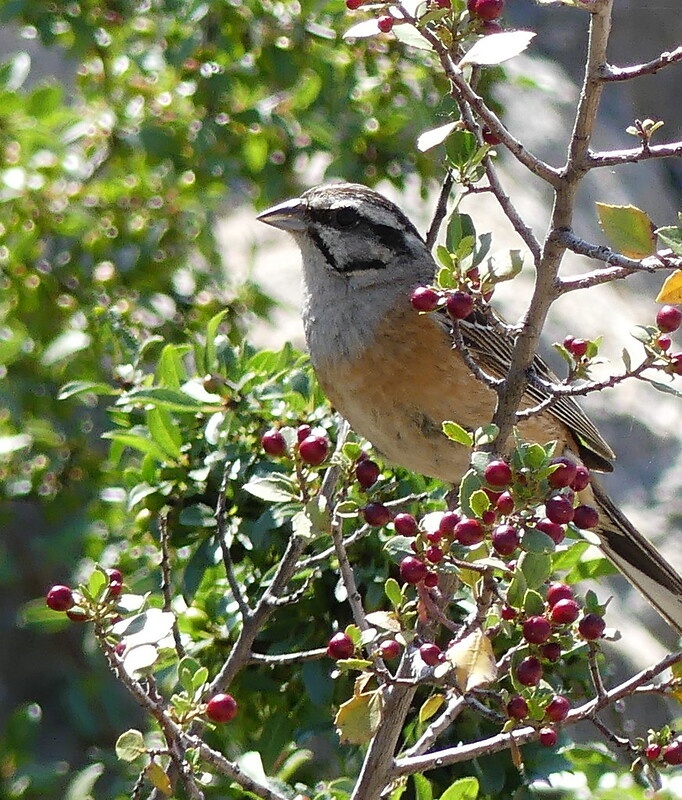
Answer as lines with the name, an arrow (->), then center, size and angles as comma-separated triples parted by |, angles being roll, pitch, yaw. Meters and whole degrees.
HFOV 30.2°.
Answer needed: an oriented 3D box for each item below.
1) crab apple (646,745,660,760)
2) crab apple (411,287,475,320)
crab apple -> 0.600, 0.681, 2.435 | 0.025, 0.023, 0.029 | 7, -46, -1
crab apple -> 0.184, -0.181, 2.299 | 0.117, 0.046, 0.047 | 9, -82, 27
